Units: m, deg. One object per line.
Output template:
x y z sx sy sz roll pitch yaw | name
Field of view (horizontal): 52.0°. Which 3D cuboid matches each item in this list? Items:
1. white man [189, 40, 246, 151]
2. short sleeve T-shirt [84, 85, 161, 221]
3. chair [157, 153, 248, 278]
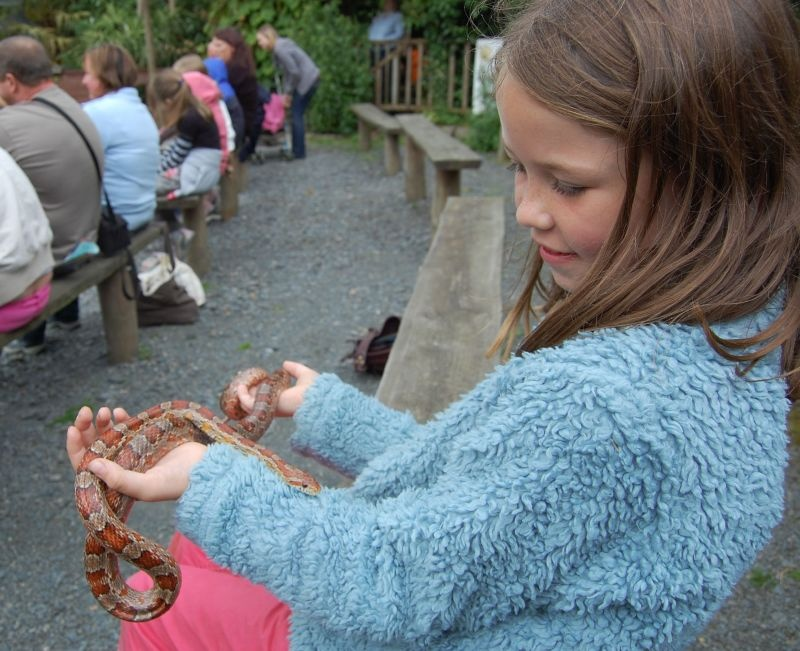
-2.107 -2.774 10.009 0.340 1.154 0.810 -11 7 -10 | white man
-2.262 -1.271 6.423 0.731 1.004 0.727 -6 18 -16 | short sleeve T-shirt
-1.869 -0.999 7.639 0.405 0.434 1.389 -1 34 -1 | chair
